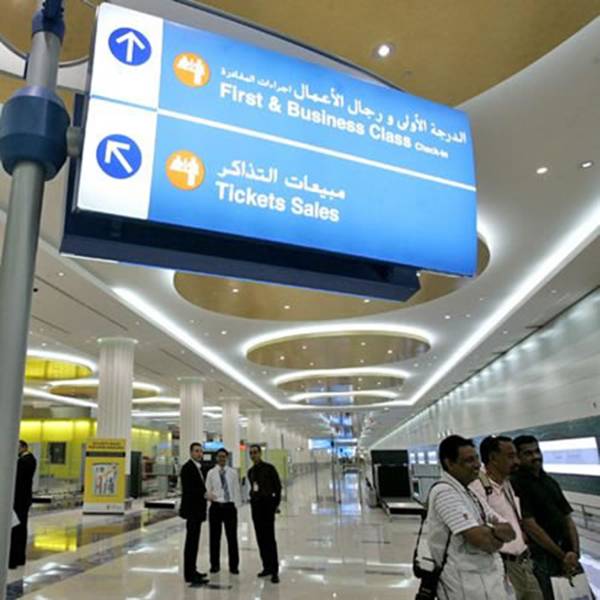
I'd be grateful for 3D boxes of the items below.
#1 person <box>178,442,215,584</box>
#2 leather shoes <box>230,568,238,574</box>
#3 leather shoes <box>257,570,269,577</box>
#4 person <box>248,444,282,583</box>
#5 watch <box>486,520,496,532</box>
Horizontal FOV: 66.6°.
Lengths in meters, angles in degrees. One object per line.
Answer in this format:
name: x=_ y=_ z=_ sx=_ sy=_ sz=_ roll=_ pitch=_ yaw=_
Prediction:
person: x=-1.728 y=3.458 z=7.478 sx=0.492 sy=2.099 sz=0.705 roll=2 pitch=-17 yaw=-14
leather shoes: x=-1.107 y=4.587 z=7.719 sx=0.138 sy=0.071 sz=0.186 roll=1 pitch=-17 yaw=-11
leather shoes: x=-0.606 y=4.511 z=7.541 sx=0.185 sy=0.101 sz=0.235 roll=-1 pitch=-17 yaw=-5
person: x=-0.599 y=3.550 z=7.740 sx=0.543 sy=2.070 sz=0.853 roll=0 pitch=-17 yaw=-6
watch: x=1.081 y=1.292 z=2.599 sx=0.040 sy=0.012 sz=0.051 roll=-1 pitch=6 yaw=-3
